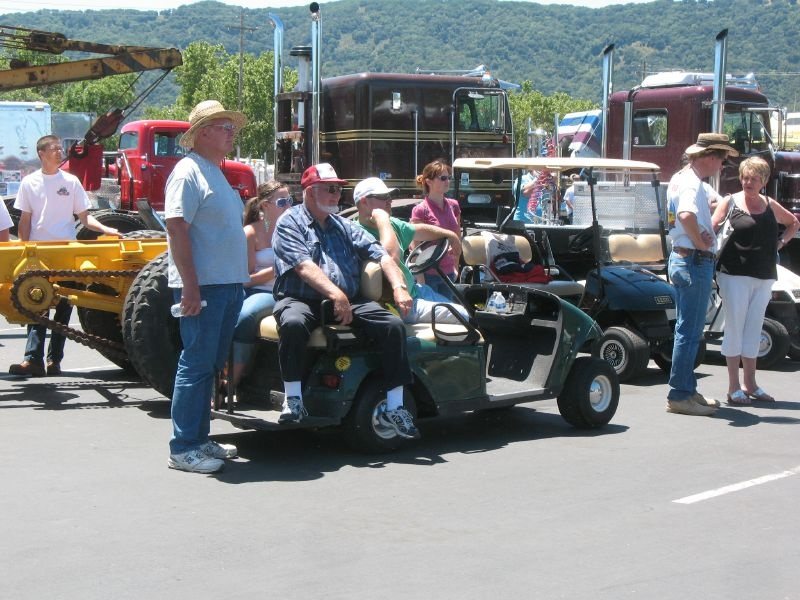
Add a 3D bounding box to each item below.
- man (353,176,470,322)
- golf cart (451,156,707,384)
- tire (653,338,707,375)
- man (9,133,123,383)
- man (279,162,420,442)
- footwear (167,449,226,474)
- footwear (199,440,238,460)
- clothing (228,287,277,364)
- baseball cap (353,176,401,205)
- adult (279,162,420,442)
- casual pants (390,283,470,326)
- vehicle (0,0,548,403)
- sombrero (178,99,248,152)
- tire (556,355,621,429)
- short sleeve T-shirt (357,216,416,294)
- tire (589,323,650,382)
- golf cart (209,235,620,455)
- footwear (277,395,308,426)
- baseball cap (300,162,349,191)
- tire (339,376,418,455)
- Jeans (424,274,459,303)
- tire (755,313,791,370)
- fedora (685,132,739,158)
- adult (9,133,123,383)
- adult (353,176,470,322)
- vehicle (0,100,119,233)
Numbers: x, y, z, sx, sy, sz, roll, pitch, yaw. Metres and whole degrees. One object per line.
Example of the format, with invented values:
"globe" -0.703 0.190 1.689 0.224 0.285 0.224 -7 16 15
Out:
"man" -0.092 -0.529 7.489 1.006 1.105 0.782 -7 -27 22
"golf cart" 2.167 -0.479 10.970 3.362 2.956 2.040 -1 6 4
"tire" 2.774 0.566 9.774 0.472 0.412 0.374 0 2 -25
"man" -3.265 -0.389 9.195 0.900 2.262 1.275 -2 10 -17
"man" -0.409 -0.041 6.767 1.131 1.847 1.122 2 0 20
"footwear" -1.368 1.080 6.555 0.367 0.170 0.147 2 0 5
"footwear" -1.273 1.045 6.794 0.268 0.116 0.097 0 3 -21
"clothing" -1.129 0.200 7.184 0.432 0.435 0.412 -2 6 -29
"baseball cap" -0.209 -0.851 7.531 0.280 0.138 0.200 -11 2 6
"adult" -0.416 -0.047 6.767 1.110 1.849 1.086 2 -1 19
"casual pants" 0.246 0.022 7.365 0.498 0.196 0.303 4 3 -8
"vehicle" -2.975 -2.127 17.243 10.921 5.815 4.382 -4 12 -7
"sombrero" -1.317 -1.213 6.608 0.403 0.198 0.394 -27 -6 -6
"tire" 1.467 0.740 7.705 0.446 0.448 0.182 26 -10 -31
"short sleeve T-shirt" -0.124 -0.317 7.196 0.325 0.597 0.525 -16 11 -37
"tire" 2.007 0.492 8.948 0.506 0.517 0.218 15 10 42
"golf cart" -0.015 0.221 7.522 2.951 1.382 1.458 -6 9 -31
"footwear" -0.716 0.739 6.632 0.123 0.191 0.274 7 11 31
"baseball cap" -0.578 -0.876 6.995 0.264 0.147 0.199 2 4 5
"tire" -0.172 0.800 6.833 0.573 0.577 0.200 1 1 -40
"Jeans" 0.317 -0.082 7.988 0.159 0.216 0.111 -28 11 -14
"tire" 3.742 0.421 9.821 0.156 0.437 0.431 -5 31 -44
"fedora" 2.724 -1.319 8.329 0.490 0.213 0.407 0 1 -10
"adult" -3.257 -0.389 9.200 0.915 2.262 1.261 -2 10 -16
"adult" -0.037 -0.394 7.644 1.150 1.273 0.939 1 7 11
"vehicle" -3.275 -1.233 9.665 0.903 1.449 1.263 -2 6 39
